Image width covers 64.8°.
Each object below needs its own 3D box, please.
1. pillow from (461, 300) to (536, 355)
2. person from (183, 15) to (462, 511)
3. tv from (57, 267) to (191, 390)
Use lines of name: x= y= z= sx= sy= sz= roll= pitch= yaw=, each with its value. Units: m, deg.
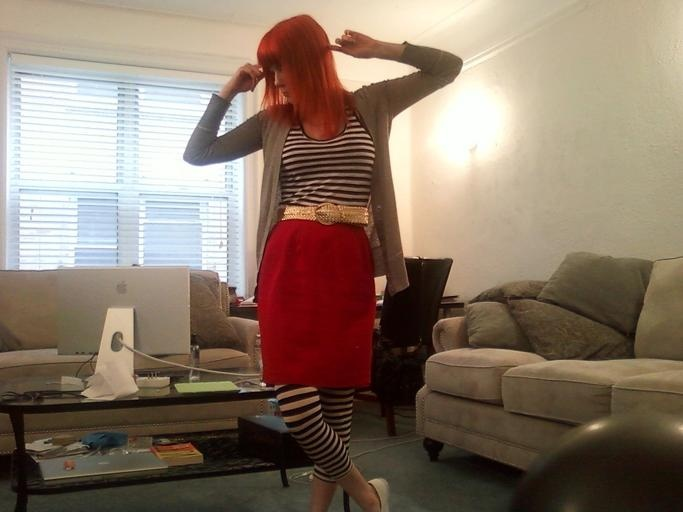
pillow: x=0.866 y=0.392 z=2.985 sx=0.266 sy=0.084 sz=0.268 roll=7 pitch=30 yaw=0
person: x=-0.060 y=0.028 z=1.766 sx=0.853 sy=1.578 sz=0.309 roll=2 pitch=-5 yaw=-11
tv: x=-0.917 y=0.288 z=2.280 sx=0.533 sy=0.439 sz=0.185 roll=1 pitch=8 yaw=-8
